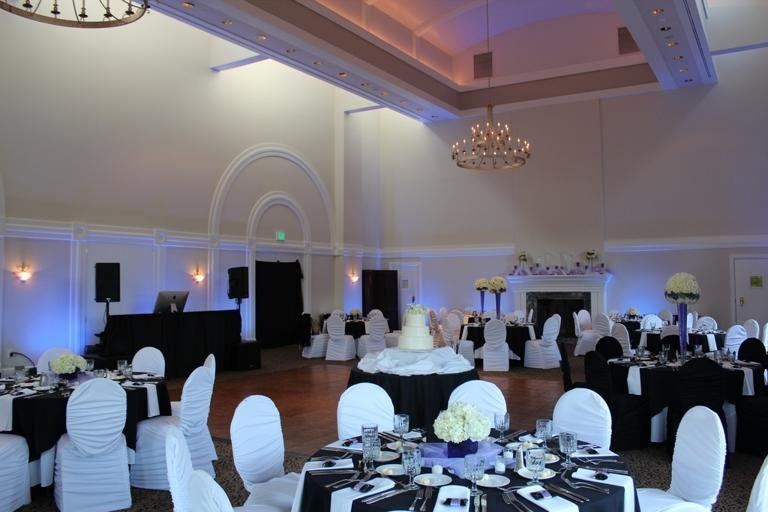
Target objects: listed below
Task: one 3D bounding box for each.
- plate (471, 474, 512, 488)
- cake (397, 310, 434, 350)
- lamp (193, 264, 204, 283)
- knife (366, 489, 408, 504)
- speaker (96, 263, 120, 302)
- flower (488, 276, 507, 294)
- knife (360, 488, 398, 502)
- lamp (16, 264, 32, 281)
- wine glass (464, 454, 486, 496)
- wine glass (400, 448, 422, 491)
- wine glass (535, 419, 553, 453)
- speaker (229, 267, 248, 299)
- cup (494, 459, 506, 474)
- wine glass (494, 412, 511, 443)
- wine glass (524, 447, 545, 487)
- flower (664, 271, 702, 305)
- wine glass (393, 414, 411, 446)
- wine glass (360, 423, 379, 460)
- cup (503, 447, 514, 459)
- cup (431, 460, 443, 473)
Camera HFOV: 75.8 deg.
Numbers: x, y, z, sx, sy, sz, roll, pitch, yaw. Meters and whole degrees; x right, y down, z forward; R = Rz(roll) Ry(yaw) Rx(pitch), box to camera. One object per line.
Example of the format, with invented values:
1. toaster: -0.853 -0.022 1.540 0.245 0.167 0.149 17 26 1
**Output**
1. plate: 0.812 1.718 3.745 0.164 0.025 0.168 -2 0 3
2. cake: 0.411 0.980 6.549 0.445 0.495 0.504 0 -3 -1
3. lamp: -4.690 0.467 12.552 0.347 0.366 0.248 4 4 42
4. knife: 0.028 1.785 3.667 0.368 0.020 0.091 -5 8 -37
5. speaker: -5.757 0.540 10.314 0.434 0.846 0.354 3 -4 -32
6. flower: 2.997 0.765 12.959 0.534 0.512 0.534 2 -5 -22
7. knife: -0.039 1.790 3.644 0.307 0.009 0.080 -3 7 -40
8. lamp: -7.116 0.334 9.783 0.229 0.287 0.270 2 -4 -19
9. wine glass: 0.673 1.605 3.665 0.130 0.301 0.265 0 -3 12
10. wine glass: 0.214 1.600 3.771 0.120 0.326 0.251 1 -3 3
11. wine glass: 1.378 1.539 4.276 0.118 0.271 0.292 0 -4 16
12. speaker: -3.678 0.678 12.581 0.371 0.679 0.705 5 -9 -31
13. cup: 0.937 1.711 3.975 0.071 0.083 0.084 0 -10 6
14. wine glass: 1.076 1.536 4.490 0.120 0.245 0.266 0 -4 10
15. wine glass: 1.166 1.600 3.791 0.130 0.262 0.224 0 -4 16
16. flower: 4.355 0.469 7.225 0.392 0.439 0.434 -1 -4 29
17. wine glass: 0.159 1.535 4.407 0.122 0.278 0.297 1 -3 0
18. wine glass: -0.104 1.504 3.948 0.115 0.306 0.100 1 -3 2
19. cup: 1.048 1.659 4.132 0.066 0.069 0.067 1 0 0
20. cup: 0.435 1.708 3.975 0.064 0.072 0.064 0 2 0
